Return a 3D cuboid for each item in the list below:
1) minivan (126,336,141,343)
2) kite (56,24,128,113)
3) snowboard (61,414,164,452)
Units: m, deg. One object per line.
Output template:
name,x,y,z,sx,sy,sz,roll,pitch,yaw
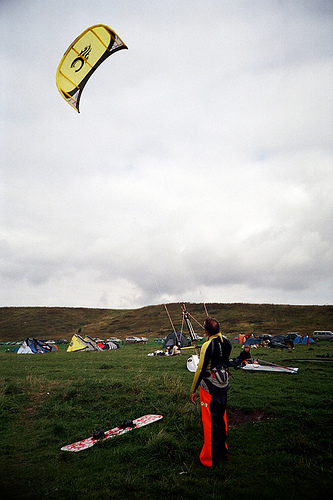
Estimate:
minivan,-5.754,15.799,59.547,2.989,0.728,1.312,-5,-8,34
kite,-2.762,-5.270,10.426,1.220,0.486,2.058,17,-16,-35
snowboard,-1.071,3.825,7.207,2.321,0.190,0.654,5,-9,-42
